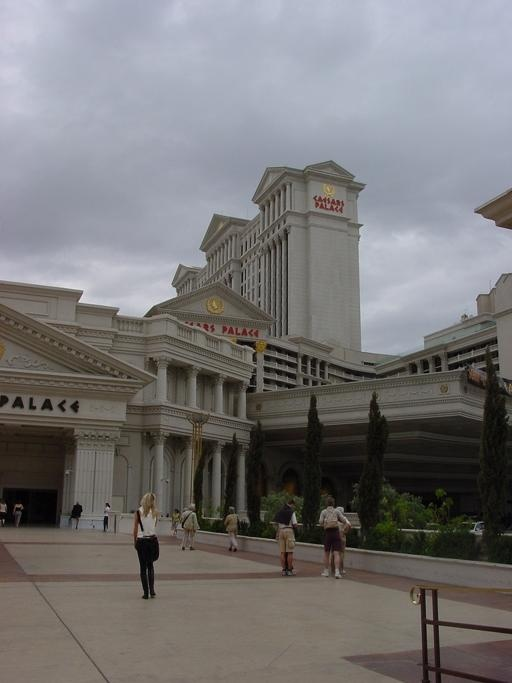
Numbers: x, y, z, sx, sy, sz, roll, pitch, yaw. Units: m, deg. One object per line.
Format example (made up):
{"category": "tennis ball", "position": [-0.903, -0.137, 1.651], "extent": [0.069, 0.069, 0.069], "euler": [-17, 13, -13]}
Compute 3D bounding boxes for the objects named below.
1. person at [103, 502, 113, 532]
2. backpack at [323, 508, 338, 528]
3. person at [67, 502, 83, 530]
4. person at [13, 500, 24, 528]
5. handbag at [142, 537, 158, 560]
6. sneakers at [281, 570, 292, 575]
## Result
{"category": "person", "position": [-6.550, 7.747, 30.898], "extent": [0.282, 1.080, 0.873], "euler": [2, -10, -10]}
{"category": "backpack", "position": [1.577, 3.727, 14.822], "extent": [0.414, 0.484, 0.282], "euler": [2, -20, -2]}
{"category": "person", "position": [-8.170, 7.875, 31.921], "extent": [0.516, 1.149, 0.993], "euler": [3, -10, -15]}
{"category": "person", "position": [-11.278, 8.211, 33.338], "extent": [0.327, 1.131, 2.810], "euler": [4, -10, -19]}
{"category": "handbag", "position": [-1.533, 3.045, 10.313], "extent": [0.160, 0.366, 0.301], "euler": [-2, -10, 14]}
{"category": "sneakers", "position": [0.665, 4.836, 14.696], "extent": [0.255, 0.109, 0.128], "euler": [4, -10, -21]}
